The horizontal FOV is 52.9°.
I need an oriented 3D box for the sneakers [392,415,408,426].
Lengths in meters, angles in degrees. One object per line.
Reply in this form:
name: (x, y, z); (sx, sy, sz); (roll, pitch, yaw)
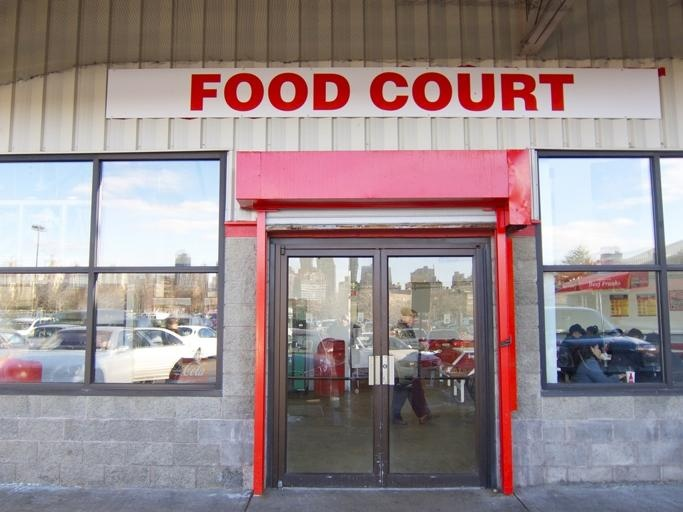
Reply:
sneakers: (0.716, 2.032, 8.496); (0.227, 0.154, 0.076); (-2, -4, 4)

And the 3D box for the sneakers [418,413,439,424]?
sneakers: (1.075, 2.016, 8.545); (0.275, 0.111, 0.100); (-11, 7, 0)

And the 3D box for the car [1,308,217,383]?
car: (-2.891, 1.298, 8.899); (2.049, 0.619, 1.214); (2, -5, -4)

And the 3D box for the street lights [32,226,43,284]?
street lights: (-3.948, -0.151, 8.925); (0.188, 0.546, 0.011); (-2, -8, 8)
